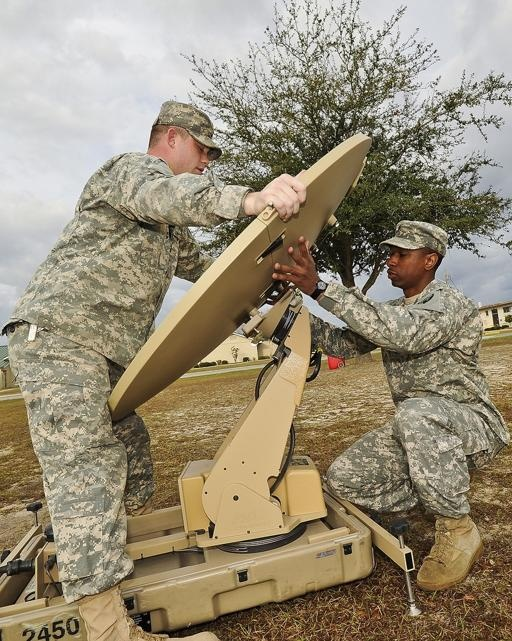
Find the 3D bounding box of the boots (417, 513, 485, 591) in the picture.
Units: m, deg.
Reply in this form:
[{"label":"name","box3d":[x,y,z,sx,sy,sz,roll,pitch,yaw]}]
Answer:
[{"label":"boots","box3d":[0.799,0.968,2.026,0.328,0.288,0.135,-6,-5,-39]}]
